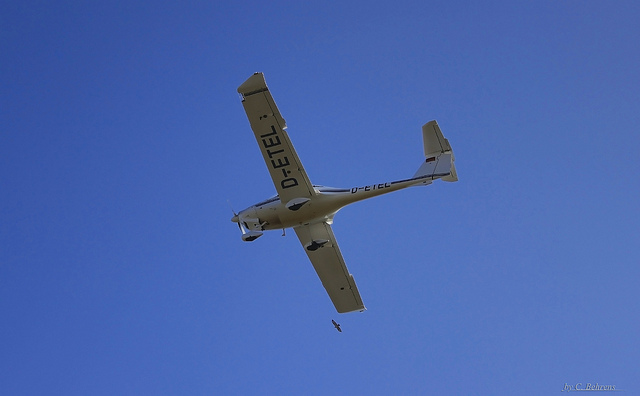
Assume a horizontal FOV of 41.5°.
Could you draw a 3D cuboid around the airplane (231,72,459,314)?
[{"bbox_3d":[0.460,-0.255,32.046,8.887,10.251,2.959,-12,-46,-6],"label":"airplane"}]
